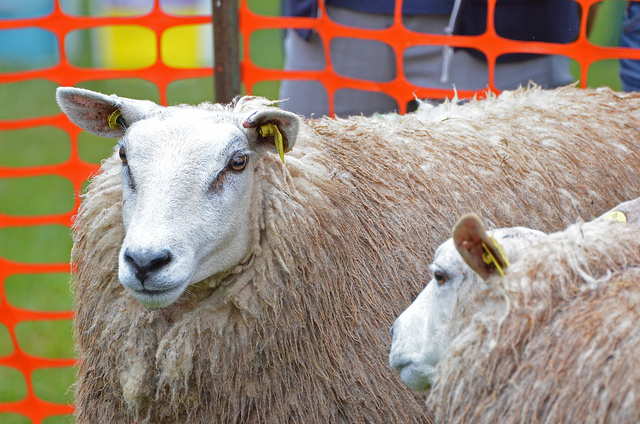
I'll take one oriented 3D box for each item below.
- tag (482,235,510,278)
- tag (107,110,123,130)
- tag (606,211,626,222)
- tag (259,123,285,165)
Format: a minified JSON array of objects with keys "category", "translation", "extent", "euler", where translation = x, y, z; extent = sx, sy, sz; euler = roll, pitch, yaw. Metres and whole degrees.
[{"category":"tag","translation":[1.041,0.268,5.814],"extent":[0.056,0.219,0.205],"euler":[-24,19,8]},{"category":"tag","translation":[-1.408,-0.629,6.669],"extent":[0.111,0.113,0.031],"euler":[-8,27,-42]},{"category":"tag","translation":[1.848,0.027,6.034],"extent":[0.075,0.079,0.018],"euler":[11,-8,32]},{"category":"tag","translation":[-0.328,-0.501,6.534],"extent":[0.060,0.191,0.142],"euler":[32,35,14]}]
